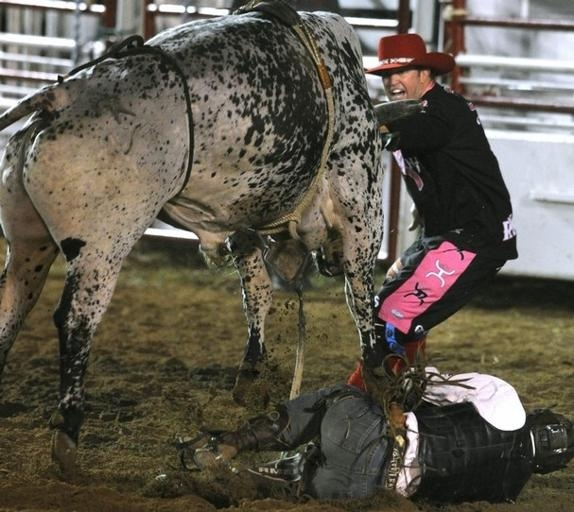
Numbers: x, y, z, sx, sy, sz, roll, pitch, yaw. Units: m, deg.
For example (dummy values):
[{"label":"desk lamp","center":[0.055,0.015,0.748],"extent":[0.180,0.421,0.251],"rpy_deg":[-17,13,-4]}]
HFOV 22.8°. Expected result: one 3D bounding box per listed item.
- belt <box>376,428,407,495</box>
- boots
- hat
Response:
[{"label":"belt","center":[0.483,0.936,6.512],"extent":[0.113,0.267,0.089],"rpy_deg":[8,-3,-6]},{"label":"boots","center":[-0.309,0.913,6.725],"extent":[0.477,0.119,0.239],"rpy_deg":[-18,-32,-4]},{"label":"hat","center":[0.529,-1.021,7.149],"extent":[0.358,0.125,0.343],"rpy_deg":[5,15,20]}]
